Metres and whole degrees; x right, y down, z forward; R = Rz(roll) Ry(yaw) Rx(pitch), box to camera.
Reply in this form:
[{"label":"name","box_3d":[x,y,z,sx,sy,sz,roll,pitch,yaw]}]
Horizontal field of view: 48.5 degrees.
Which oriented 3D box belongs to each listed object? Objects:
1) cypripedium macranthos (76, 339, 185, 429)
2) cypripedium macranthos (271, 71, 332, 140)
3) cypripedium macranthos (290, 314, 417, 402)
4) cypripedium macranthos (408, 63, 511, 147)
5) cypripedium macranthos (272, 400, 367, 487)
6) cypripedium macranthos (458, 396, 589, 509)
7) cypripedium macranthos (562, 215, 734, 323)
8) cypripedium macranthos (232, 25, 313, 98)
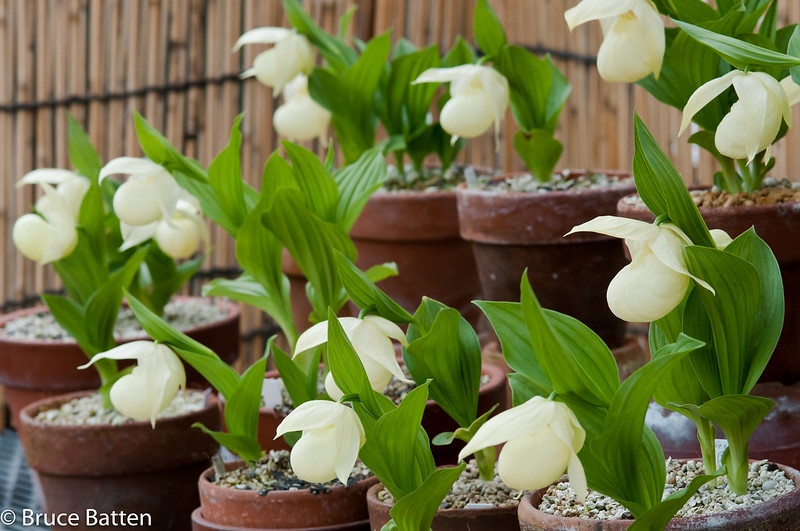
[{"label":"cypripedium macranthos","box_3d":[-0.395,0.200,1.384,0.092,0.164,0.107,4,16,28]},{"label":"cypripedium macranthos","box_3d":[-0.171,-0.253,1.528,0.099,0.140,0.080,5,-15,-13]},{"label":"cypripedium macranthos","box_3d":[-0.060,0.105,1.282,0.115,0.154,0.084,-7,0,-17]},{"label":"cypripedium macranthos","box_3d":[0.074,-0.238,1.435,0.122,0.110,0.188,0,7,40]},{"label":"cypripedium macranthos","box_3d":[-0.123,0.245,1.247,0.108,0.067,0.138,2,38,41]},{"label":"cypripedium macranthos","box_3d":[0.171,0.231,1.097,0.192,0.118,0.088,-11,16,-23]},{"label":"cypripedium macranthos","box_3d":[0.306,-0.001,1.150,0.150,0.128,0.081,-1,14,10]},{"label":"cypripedium macranthos","box_3d":[-0.210,-0.358,1.540,0.107,0.111,0.157,-1,16,11]}]
